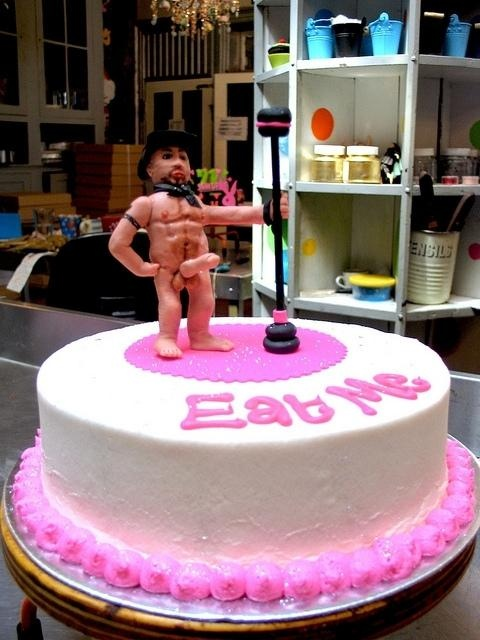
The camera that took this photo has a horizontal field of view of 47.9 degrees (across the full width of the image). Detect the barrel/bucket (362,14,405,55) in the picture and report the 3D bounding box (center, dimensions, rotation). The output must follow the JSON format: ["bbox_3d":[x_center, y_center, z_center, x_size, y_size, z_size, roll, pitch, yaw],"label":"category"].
[{"bbox_3d":[0.526,-1.027,1.986,0.141,0.171,0.266,2,12,12],"label":"barrel/bucket"}]

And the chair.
[{"bbox_3d":[-0.703,-0.237,2.728,0.427,0.589,0.482,-4,12,-32],"label":"chair"}]

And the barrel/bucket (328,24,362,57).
[{"bbox_3d":[0.381,-1.023,1.964,0.112,0.088,0.109,-1,21,0],"label":"barrel/bucket"}]

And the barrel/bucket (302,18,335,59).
[{"bbox_3d":[0.317,-1.068,2.061,0.113,0.127,0.113,0,22,0],"label":"barrel/bucket"}]

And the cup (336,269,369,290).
[{"bbox_3d":[0.472,-0.181,2.333,0.094,0.071,0.074,-3,16,4],"label":"cup"}]
